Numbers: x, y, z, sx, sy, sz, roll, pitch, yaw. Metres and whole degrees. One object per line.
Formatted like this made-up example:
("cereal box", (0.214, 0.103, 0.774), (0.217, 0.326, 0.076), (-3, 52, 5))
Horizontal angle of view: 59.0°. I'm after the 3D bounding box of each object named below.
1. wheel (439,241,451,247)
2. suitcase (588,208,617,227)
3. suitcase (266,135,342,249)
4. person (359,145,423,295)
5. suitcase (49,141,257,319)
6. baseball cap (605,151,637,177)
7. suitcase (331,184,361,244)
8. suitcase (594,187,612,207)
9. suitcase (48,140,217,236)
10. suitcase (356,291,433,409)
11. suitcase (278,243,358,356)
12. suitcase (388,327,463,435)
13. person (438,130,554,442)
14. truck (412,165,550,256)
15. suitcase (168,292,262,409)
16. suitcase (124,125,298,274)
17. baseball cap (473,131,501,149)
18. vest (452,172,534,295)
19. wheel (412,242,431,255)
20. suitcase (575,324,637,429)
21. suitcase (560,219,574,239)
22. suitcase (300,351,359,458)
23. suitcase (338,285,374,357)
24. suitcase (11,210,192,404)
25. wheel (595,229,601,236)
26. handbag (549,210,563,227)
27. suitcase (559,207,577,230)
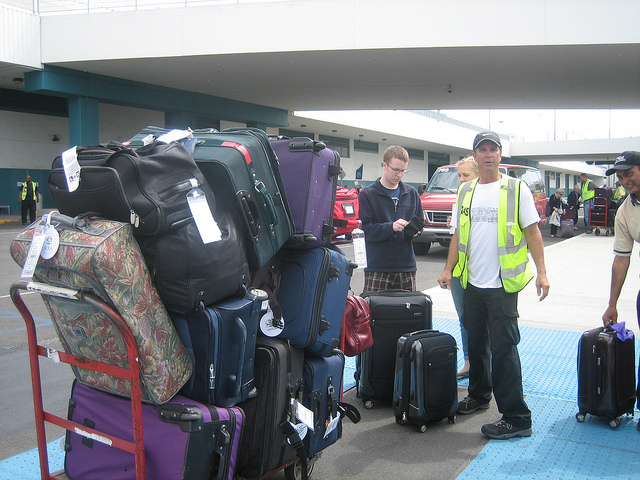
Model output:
("wheel", (3.250, 0.108, 14.754), (0.289, 0.176, 0.199), (-2, -2, -10))
("suitcase", (9.452, -0.764, 19.005), (0.967, 0.809, 0.565), (2, 6, 24))
("suitcase", (-0.153, -0.343, 4.038), (0.456, 0.775, 0.589), (-5, 19, -25))
("person", (0.670, -0.195, 5.429), (0.597, 1.383, 0.586), (1, 8, 7))
("suitcase", (-1.041, -0.093, 3.535), (0.938, 1.114, 0.673), (1, 18, 25))
("baseball cap", (2.470, -0.631, 4.573), (0.302, 0.179, 0.191), (-11, 0, -29))
("suitcase", (0.656, -0.596, 14.411), (0.855, 1.468, 0.534), (-4, 23, -14))
("suitcase", (9.865, -1.504, 19.814), (0.574, 0.700, 0.894), (5, 9, 31))
("suitcase", (-1.075, -0.346, 3.444), (0.991, 0.478, 0.648), (12, 19, 28))
("suitcase", (0.676, 0.964, 5.281), (0.661, 1.152, 0.592), (-1, 11, -6))
("suitcase", (-0.090, 0.426, 4.045), (0.409, 0.774, 0.522), (22, -19, -38))
("suitcase", (0.890, 1.148, 4.776), (0.482, 0.800, 0.414), (-3, 6, -26))
("person", (1.428, 0.334, 4.664), (0.544, 2.410, 0.771), (-5, 9, -33))
("truck", (4.687, -0.980, 15.720), (2.802, 2.880, 5.347), (2, 2, 37))
("suitcase", (-0.657, 0.623, 3.548), (0.519, 0.670, 0.452), (11, 16, 22))
("suitcase", (-0.781, -0.100, 3.691), (0.821, 0.889, 0.495), (-18, 5, 5))
("baseball cap", (1.328, -0.819, 4.576), (0.168, 0.151, 0.252), (0, 17, 10))
("vest", (1.421, -0.058, 4.672), (0.622, 0.949, 0.425), (3, 8, 21))
("wheel", (2.660, 0.210, 14.873), (0.426, 0.298, 0.388), (0, 8, 0))
("suitcase", (2.392, 1.123, 4.672), (0.527, 0.797, 0.276), (-1, 7, -6))
("suitcase", (8.761, -0.398, 20.155), (0.510, 0.868, 0.608), (3, 10, 17))
("suitcase", (0.037, 1.103, 3.995), (0.517, 0.738, 0.171), (-6, 10, -38))
("suitcase", (0.275, 0.613, 4.500), (0.243, 0.568, 0.376), (2, 5, 29))
("suitcase", (-1.252, 0.403, 3.252), (0.927, 1.109, 0.395), (2, 8, 16))
("wheel", (9.901, -0.278, 20.294), (0.147, 0.229, 0.071), (-23, 9, 8))
("handbag", (8.427, -0.776, 20.246), (0.344, 0.737, 0.402), (14, -17, 9))
("suitcase", (8.974, -0.823, 20.443), (0.446, 0.750, 0.655), (9, 5, 4))
